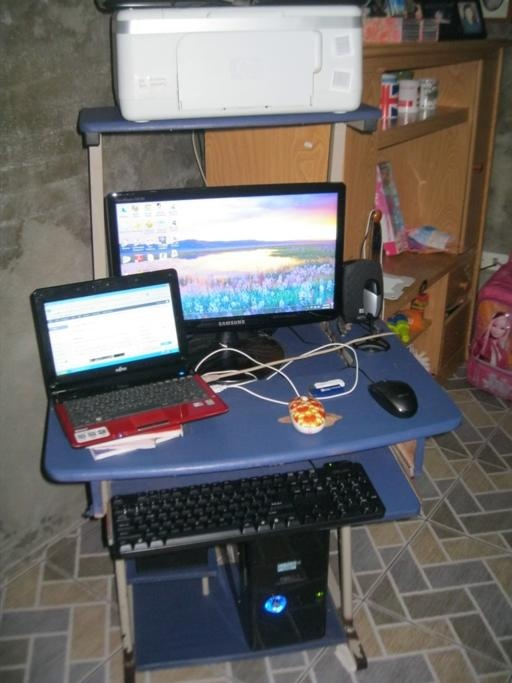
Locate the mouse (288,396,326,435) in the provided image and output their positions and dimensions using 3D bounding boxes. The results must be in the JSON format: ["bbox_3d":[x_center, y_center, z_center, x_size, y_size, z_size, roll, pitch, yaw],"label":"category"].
[{"bbox_3d":[0.103,0.140,1.117,0.077,0.045,0.094,-2,24,0],"label":"mouse"}]

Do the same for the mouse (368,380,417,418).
[{"bbox_3d":[0.286,0.109,1.176,0.071,0.044,0.119,-10,25,-17],"label":"mouse"}]

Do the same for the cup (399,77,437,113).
[{"bbox_3d":[0.591,-0.907,2.100,0.136,0.097,0.136,0,25,0],"label":"cup"}]

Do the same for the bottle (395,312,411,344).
[{"bbox_3d":[0.556,-0.051,2.159,0.040,0.038,0.122,-27,20,17],"label":"bottle"}]

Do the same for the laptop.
[{"bbox_3d":[-0.248,0.020,1.119,0.306,0.243,0.249,-14,26,-25],"label":"laptop"}]
